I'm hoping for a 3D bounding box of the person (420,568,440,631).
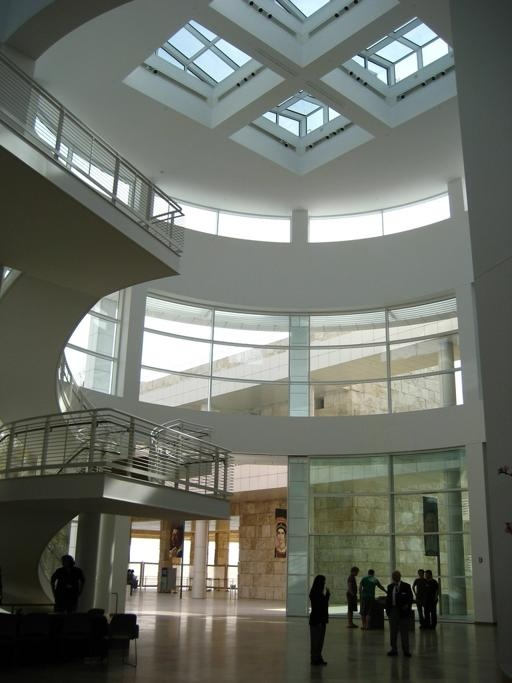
[{"bbox_3d":[4.538,6.705,14.536,0.368,1.341,1.654,-3,-15,17],"label":"person"}]

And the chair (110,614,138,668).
[{"bbox_3d":[-1.761,3.946,7.417,0.419,0.637,0.439,-2,-17,5],"label":"chair"}]

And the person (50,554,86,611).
[{"bbox_3d":[-2.933,3.778,8.634,0.505,0.895,1.420,6,-15,-17],"label":"person"}]
